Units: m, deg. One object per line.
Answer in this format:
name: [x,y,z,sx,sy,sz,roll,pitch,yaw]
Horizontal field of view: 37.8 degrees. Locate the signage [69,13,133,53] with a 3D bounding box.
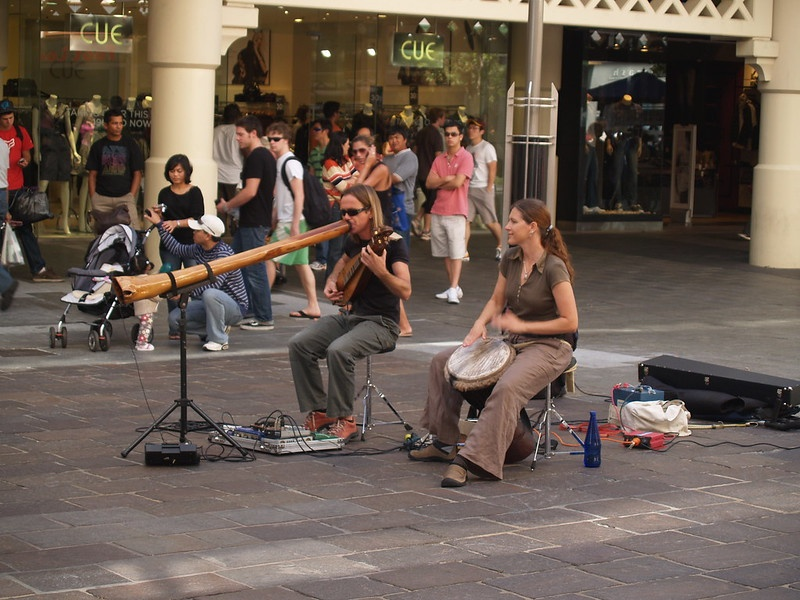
signage: [-4.763,-4.277,18.709,1.334,0.621,0.016,9,13,26]

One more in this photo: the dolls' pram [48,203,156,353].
dolls' pram: [-2.966,-0.208,11.653,1.151,1.196,0.903,-4,7,-28]

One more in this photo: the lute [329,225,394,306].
lute: [-0.300,-0.237,8.649,0.307,0.710,0.141,43,38,18]

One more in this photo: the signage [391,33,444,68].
signage: [0.302,-4.648,21.593,0.913,0.420,0.031,-4,12,-33]

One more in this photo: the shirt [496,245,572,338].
shirt: [0.991,-0.044,8.425,0.407,0.586,0.698,-23,26,-31]

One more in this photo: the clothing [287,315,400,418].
clothing: [-0.420,0.508,8.721,0.513,0.758,0.624,5,10,35]

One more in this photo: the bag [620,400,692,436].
bag: [1.992,0.906,8.956,0.425,0.126,0.295,-1,2,-10]

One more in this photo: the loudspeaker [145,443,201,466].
loudspeaker: [-1.552,1.070,7.993,0.356,0.143,0.213,-2,8,-8]

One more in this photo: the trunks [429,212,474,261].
trunks: [0.706,-0.873,15.342,0.413,0.605,0.557,-8,13,-41]

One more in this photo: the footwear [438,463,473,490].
footwear: [0.370,1.171,7.715,0.110,0.146,0.173,4,9,30]

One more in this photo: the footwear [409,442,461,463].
footwear: [0.257,1.088,8.241,0.394,0.124,0.125,1,3,3]

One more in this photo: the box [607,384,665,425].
box: [1.878,0.780,9.255,0.285,0.263,0.472,-2,4,-24]

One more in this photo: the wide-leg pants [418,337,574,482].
wide-leg pants: [0.603,0.740,8.148,0.765,0.883,0.964,5,10,38]

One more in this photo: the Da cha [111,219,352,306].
Da cha: [-1.120,-0.294,8.170,1.750,0.194,0.236,-20,22,-27]

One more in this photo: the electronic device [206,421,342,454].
electronic device: [-0.893,1.016,8.438,0.893,0.175,0.361,1,8,13]
